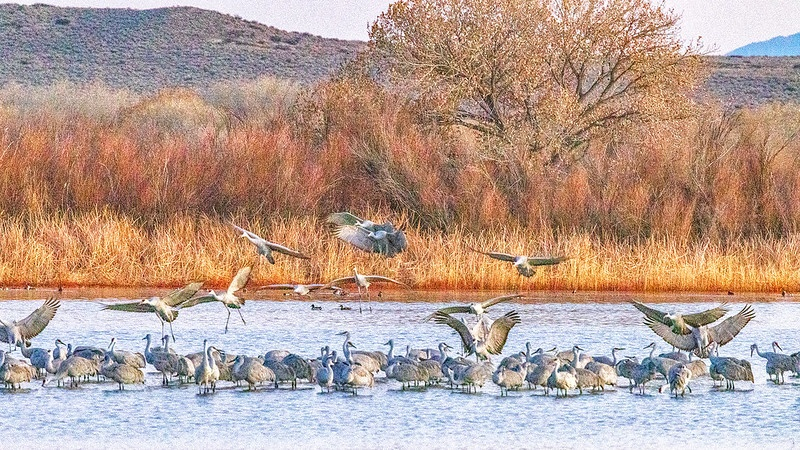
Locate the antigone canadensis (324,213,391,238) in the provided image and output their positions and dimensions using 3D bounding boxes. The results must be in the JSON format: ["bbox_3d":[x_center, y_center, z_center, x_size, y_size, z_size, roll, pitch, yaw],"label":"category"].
[{"bbox_3d":[-1.024,-0.088,34.807,1.708,0.587,0.807,0,-4,-3],"label":"antigone canadensis"}]

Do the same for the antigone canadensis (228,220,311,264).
[{"bbox_3d":[-3.312,0.527,34.327,1.346,0.853,1.845,0,-4,-6],"label":"antigone canadensis"}]

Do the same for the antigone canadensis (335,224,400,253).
[{"bbox_3d":[-0.597,0.390,34.678,1.504,0.494,0.762,-2,-26,27],"label":"antigone canadensis"}]
